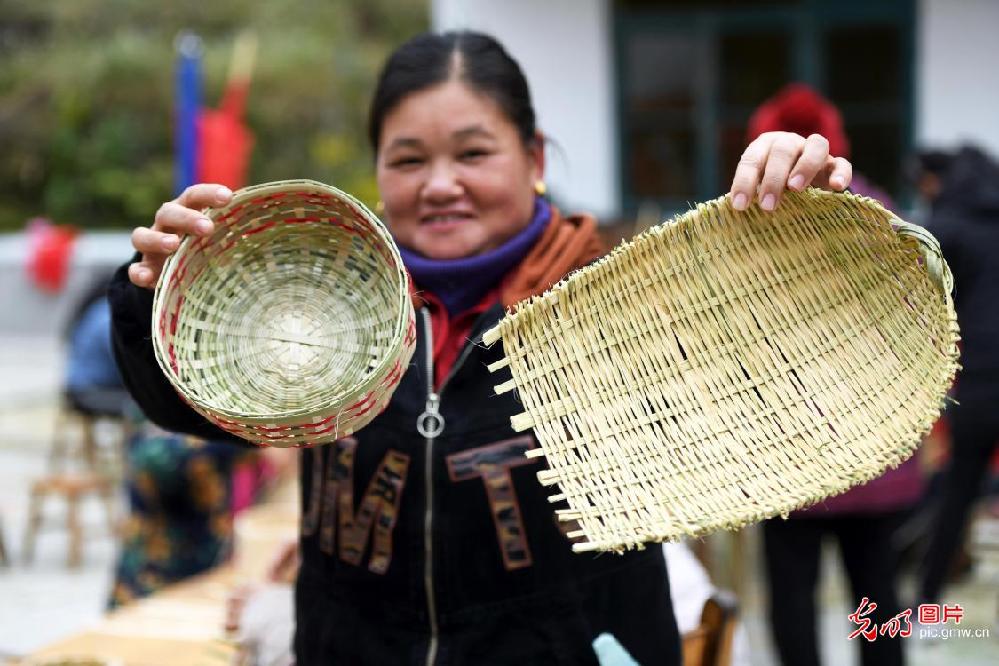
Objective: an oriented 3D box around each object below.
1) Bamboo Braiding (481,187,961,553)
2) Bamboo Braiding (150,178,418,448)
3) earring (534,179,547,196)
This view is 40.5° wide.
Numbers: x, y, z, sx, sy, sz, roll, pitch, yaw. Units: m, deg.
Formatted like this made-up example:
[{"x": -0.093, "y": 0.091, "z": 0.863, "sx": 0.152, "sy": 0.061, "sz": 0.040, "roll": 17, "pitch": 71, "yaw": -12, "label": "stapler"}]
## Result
[{"x": 0.613, "y": 0.086, "z": 3.703, "sx": 1.211, "sy": 0.929, "sz": 0.358, "roll": -4, "pitch": 8, "yaw": -8, "label": "Bamboo Braiding"}, {"x": -0.602, "y": -0.060, "z": 3.714, "sx": 0.681, "sy": 0.702, "sz": 0.404, "roll": -4, "pitch": 8, "yaw": -12, "label": "Bamboo Braiding"}, {"x": 0.130, "y": -0.435, "z": 4.094, "sx": 0.010, "sy": 0.040, "sz": 0.044, "roll": -5, "pitch": -28, "yaw": 46, "label": "earring"}]
